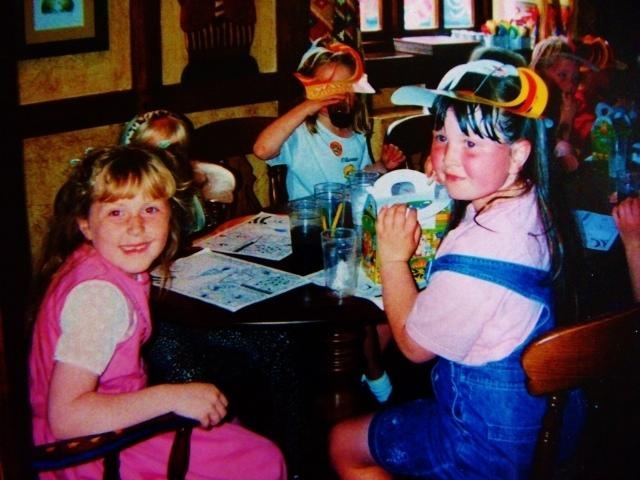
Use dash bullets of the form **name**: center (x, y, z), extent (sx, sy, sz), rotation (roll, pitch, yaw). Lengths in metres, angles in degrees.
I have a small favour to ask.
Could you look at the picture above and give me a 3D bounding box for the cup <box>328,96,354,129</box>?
- **cup**: center (0.088, -0.499, 2.144), extent (0.097, 0.102, 0.095), rotation (-6, 60, 11)
